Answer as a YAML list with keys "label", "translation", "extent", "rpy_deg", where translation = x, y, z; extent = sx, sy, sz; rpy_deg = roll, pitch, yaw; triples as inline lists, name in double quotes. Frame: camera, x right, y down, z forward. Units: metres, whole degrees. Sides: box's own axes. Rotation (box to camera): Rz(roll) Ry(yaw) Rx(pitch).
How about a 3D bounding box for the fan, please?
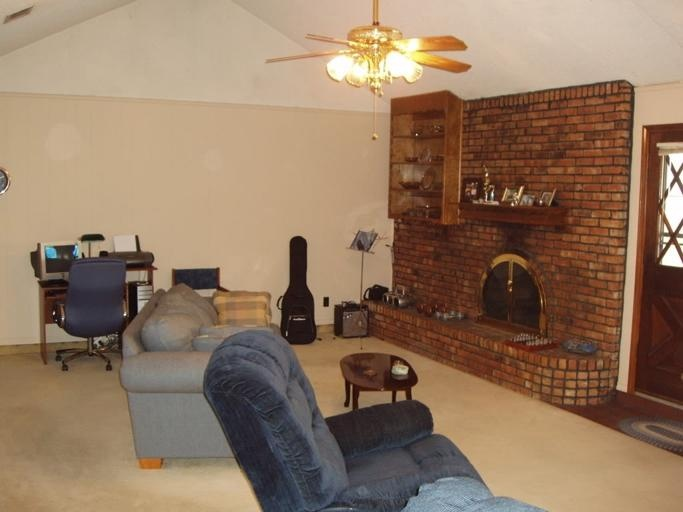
- label: "fan"
  translation: [0.257, -2.135, 6.365]
  extent: [1.755, 1.423, 1.641]
  rpy_deg: [-7, 17, -26]

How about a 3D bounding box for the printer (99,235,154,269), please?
- label: "printer"
  translation: [-2.653, -0.051, 7.039]
  extent: [0.606, 0.386, 0.430]
  rpy_deg: [-2, 6, -22]

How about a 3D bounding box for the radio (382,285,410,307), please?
- label: "radio"
  translation: [0.807, 0.580, 7.966]
  extent: [0.311, 0.229, 0.305]
  rpy_deg: [4, 7, 7]

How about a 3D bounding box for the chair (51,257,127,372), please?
- label: "chair"
  translation: [-2.872, 0.642, 6.404]
  extent: [0.661, 1.376, 0.858]
  rpy_deg: [-11, 18, -43]

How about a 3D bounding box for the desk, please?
- label: "desk"
  translation: [-2.730, 0.613, 6.169]
  extent: [1.203, 0.982, 0.493]
  rpy_deg: [-3, 7, -29]

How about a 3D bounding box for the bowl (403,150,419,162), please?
- label: "bowl"
  translation: [0.947, -1.358, 7.624]
  extent: [0.175, 0.082, 0.174]
  rpy_deg: [-1, 4, 0]

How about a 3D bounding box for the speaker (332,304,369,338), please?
- label: "speaker"
  translation: [0.123, 0.869, 8.102]
  extent: [0.589, 0.535, 0.451]
  rpy_deg: [0, 4, -17]
